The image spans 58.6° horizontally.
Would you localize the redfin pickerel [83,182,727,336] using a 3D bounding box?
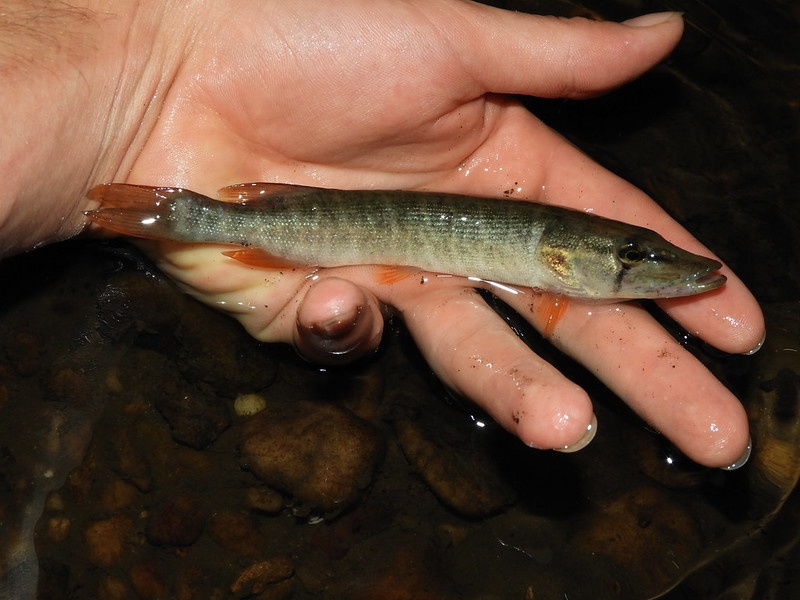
[{"bbox_3d":[0.118,-0.444,4.986,4.010,0.659,0.572,8,55,-5],"label":"redfin pickerel"}]
